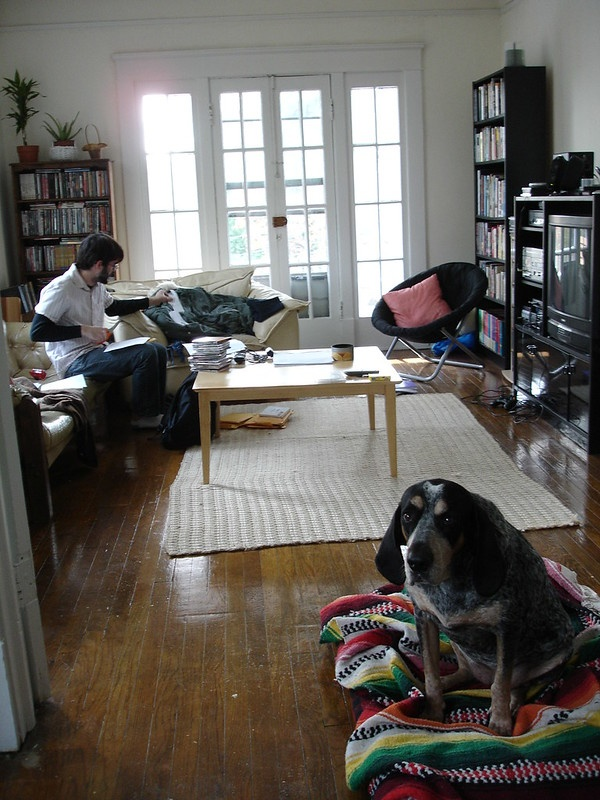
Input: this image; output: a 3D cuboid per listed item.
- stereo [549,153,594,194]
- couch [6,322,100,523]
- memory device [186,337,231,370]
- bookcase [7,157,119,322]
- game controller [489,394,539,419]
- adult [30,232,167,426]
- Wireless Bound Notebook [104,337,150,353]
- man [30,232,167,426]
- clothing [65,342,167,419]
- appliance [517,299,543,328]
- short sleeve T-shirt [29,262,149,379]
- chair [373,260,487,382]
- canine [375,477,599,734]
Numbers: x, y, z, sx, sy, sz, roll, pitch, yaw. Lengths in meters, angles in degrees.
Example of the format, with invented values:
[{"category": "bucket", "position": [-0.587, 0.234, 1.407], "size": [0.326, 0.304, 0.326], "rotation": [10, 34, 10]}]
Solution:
[{"category": "stereo", "position": [1.683, -1.411, 3.861], "size": [0.248, 0.293, 0.421], "rotation": [0, 11, 23]}, {"category": "couch", "position": [-1.187, 0.109, 3.079], "size": [0.365, 0.438, 1.019], "rotation": [-8, 47, -12]}, {"category": "memory device", "position": [-0.512, -0.273, 3.602], "size": [0.179, 0.080, 0.227], "rotation": [0, 18, -1]}, {"category": "bookcase", "position": [-2.135, -1.353, 5.759], "size": [0.905, 1.659, 0.276], "rotation": [-12, 25, -31]}, {"category": "game controller", "position": [1.482, 0.046, 4.199], "size": [0.180, 0.077, 0.236], "rotation": [-12, 13, -19]}, {"category": "adult", "position": [-1.248, -0.444, 4.116], "size": [0.972, 1.212, 0.741], "rotation": [-10, 19, -24]}, {"category": "Wireless Bound Notebook", "position": [-1.121, -0.361, 4.064], "size": [0.501, 0.039, 0.373], "rotation": [-8, 9, -18]}, {"category": "man", "position": [-1.267, -0.443, 4.101], "size": [0.914, 1.215, 0.735], "rotation": [-10, 19, -24]}, {"category": "clothing", "position": [-1.206, -0.123, 4.245], "size": [0.709, 0.488, 0.469], "rotation": [0, 3, 18]}, {"category": "appliance", "position": [1.520, -0.557, 4.072], "size": [0.165, 0.152, 0.229], "rotation": [1, 18, 0]}, {"category": "short sleeve T-shirt", "position": [-1.389, -0.530, 4.123], "size": [0.451, 0.709, 0.945], "rotation": [17, 25, 21]}, {"category": "chair", "position": [1.075, -0.647, 5.164], "size": [0.930, 0.889, 0.937], "rotation": [8, 20, 38]}, {"category": "canine", "position": [0.399, 0.384, 1.291], "size": [0.624, 0.457, 0.263], "rotation": [0, -1, -44]}]
